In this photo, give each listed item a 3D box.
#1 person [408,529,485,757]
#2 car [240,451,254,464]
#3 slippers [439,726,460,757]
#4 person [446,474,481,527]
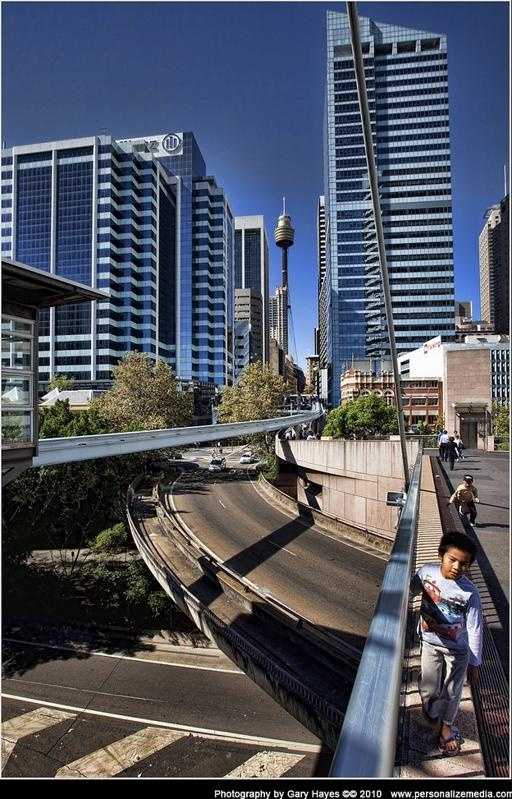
[{"bbox_3d":[1.869,2.445,6.298,0.801,2.497,0.738,6,24,22],"label":"person"},{"bbox_3d":[-0.646,4.752,51.346,0.917,1.106,2.854,-1,-5,4],"label":"car"},{"bbox_3d":[1.873,3.226,5.907,0.214,0.245,0.133,-5,9,4],"label":"slippers"},{"bbox_3d":[4.236,1.994,12.441,0.421,1.113,0.396,0,20,23],"label":"person"}]
